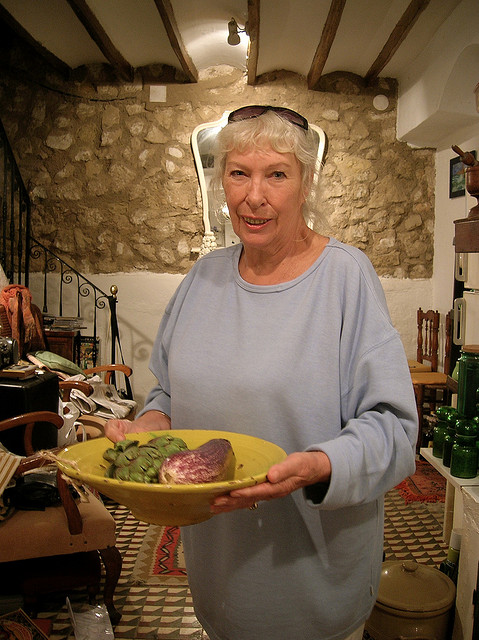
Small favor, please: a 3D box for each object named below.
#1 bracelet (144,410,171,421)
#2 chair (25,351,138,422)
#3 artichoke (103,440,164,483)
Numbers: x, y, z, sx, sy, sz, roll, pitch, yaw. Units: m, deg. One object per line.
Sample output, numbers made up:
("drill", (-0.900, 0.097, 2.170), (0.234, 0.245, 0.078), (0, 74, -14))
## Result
("bracelet", (-0.161, 0.199, 0.988), (0.023, 0.009, 0.021), (39, 26, 27))
("chair", (-1.114, 0.460, 3.304), (0.795, 0.325, 0.630), (10, 3, 14))
("artichoke", (-0.150, 0.192, 0.661), (0.056, 0.052, 0.071), (-18, 30, -39))
